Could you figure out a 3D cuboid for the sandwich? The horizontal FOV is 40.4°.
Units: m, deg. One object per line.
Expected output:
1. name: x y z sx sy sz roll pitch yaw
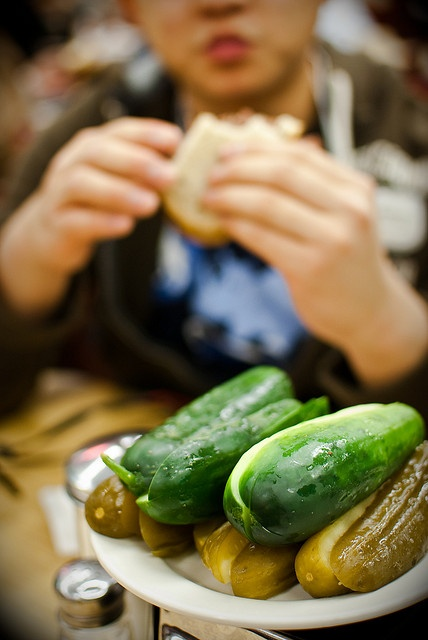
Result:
1. sandwich: 0.025 -0.194 0.802 0.205 0.169 0.066 -4 43 9
